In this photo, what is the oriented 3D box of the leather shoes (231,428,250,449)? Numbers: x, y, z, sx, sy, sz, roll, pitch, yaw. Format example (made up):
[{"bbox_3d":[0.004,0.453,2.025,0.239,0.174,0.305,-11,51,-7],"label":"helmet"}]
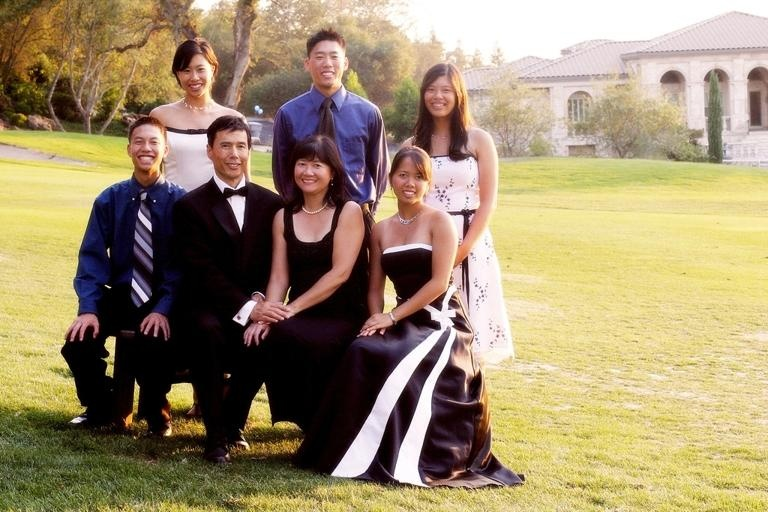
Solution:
[{"bbox_3d":[-1.153,1.455,5.330,0.161,0.157,0.113,1,13,-14],"label":"leather shoes"}]

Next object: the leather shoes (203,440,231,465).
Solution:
[{"bbox_3d":[-1.271,1.489,5.079,0.107,0.103,0.227,1,2,-13],"label":"leather shoes"}]

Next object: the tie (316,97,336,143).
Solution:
[{"bbox_3d":[-0.527,-1.268,6.126,0.159,0.377,0.166,2,13,-9],"label":"tie"}]

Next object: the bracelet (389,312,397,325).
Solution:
[{"bbox_3d":[0.077,0.505,5.394,0.024,0.090,0.085,-30,48,1],"label":"bracelet"}]
